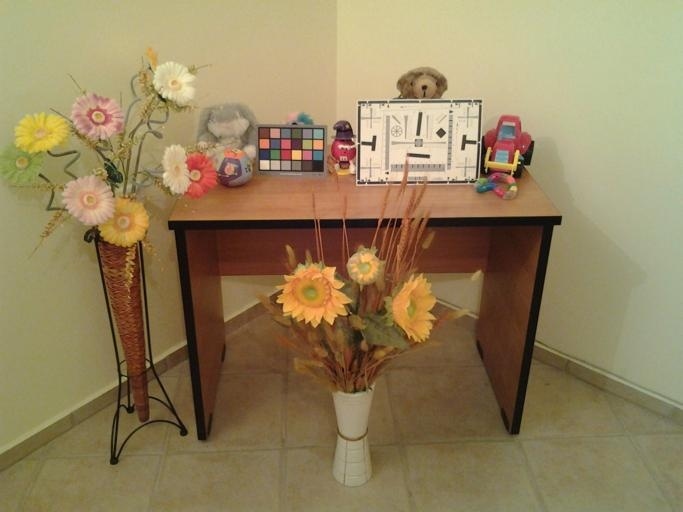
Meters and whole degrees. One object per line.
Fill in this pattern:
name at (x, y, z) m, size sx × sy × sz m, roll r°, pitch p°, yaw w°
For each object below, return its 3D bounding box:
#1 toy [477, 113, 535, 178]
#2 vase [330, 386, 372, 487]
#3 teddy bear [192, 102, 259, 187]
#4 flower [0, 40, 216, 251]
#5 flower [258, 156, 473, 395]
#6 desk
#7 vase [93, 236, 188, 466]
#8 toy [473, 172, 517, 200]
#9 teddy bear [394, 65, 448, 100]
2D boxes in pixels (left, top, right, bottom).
toy at (0.672, -0.448, 2.251) m, size 0.202 × 0.228 × 0.159 m, roll 4°, pitch 24°, yaw 9°
vase at (0.041, 0.643, 2.089) m, size 0.184 × 0.468 × 0.150 m, roll -6°, pitch 24°, yaw -14°
teddy bear at (-0.473, -0.432, 2.195) m, size 0.327 × 0.433 × 0.242 m, roll -2°, pitch 13°, yaw -14°
flower at (-0.867, -0.366, 1.966) m, size 0.658 × 0.686 × 0.663 m, roll 17°, pitch 29°, yaw 34°
flower at (0.129, 0.056, 2.082) m, size 0.706 × 0.939 × 0.837 m, roll -6°, pitch 23°, yaw -17°
desk at (0.073, 0.537, 2.860) m, size 1.949 × 1.455 × 1.036 m, roll -1°, pitch 33°, yaw -1°
vase at (-0.877, 0.286, 2.262) m, size 0.315 × 0.941 × 0.444 m, roll -8°, pitch 25°, yaw -20°
toy at (0.607, -0.282, 2.164) m, size 0.160 × 0.059 × 0.186 m, roll 8°, pitch 25°, yaw 16°
teddy bear at (0.320, -0.691, 2.235) m, size 0.156 × 0.100 × 0.151 m, roll -2°, pitch 30°, yaw -1°
